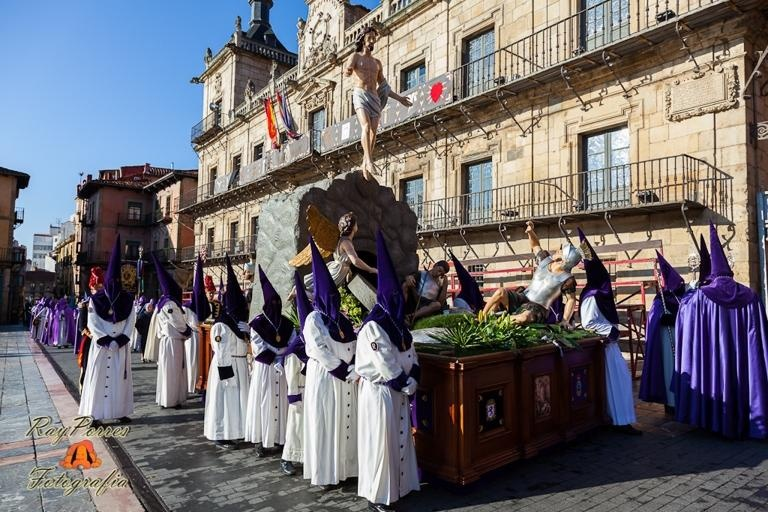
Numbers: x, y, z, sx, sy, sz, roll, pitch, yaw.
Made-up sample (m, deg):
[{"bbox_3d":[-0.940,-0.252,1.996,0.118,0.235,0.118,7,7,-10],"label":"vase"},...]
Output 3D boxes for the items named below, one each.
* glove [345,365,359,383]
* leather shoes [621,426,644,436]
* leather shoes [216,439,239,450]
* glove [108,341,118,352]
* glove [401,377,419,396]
[{"bbox_3d":[-0.583,2.216,14.011,0.236,0.319,0.154,3,4,-24],"label":"glove"},{"bbox_3d":[5.208,3.666,15.735,0.507,0.244,0.184,-4,-4,11],"label":"leather shoes"},{"bbox_3d":[-3.227,3.864,15.362,0.374,0.171,0.196,-4,-10,13],"label":"leather shoes"},{"bbox_3d":[-5.923,1.964,16.336,0.169,0.220,0.226,-3,-2,1],"label":"glove"},{"bbox_3d":[0.495,2.391,13.697,0.225,0.333,0.139,24,-15,-32],"label":"glove"}]
